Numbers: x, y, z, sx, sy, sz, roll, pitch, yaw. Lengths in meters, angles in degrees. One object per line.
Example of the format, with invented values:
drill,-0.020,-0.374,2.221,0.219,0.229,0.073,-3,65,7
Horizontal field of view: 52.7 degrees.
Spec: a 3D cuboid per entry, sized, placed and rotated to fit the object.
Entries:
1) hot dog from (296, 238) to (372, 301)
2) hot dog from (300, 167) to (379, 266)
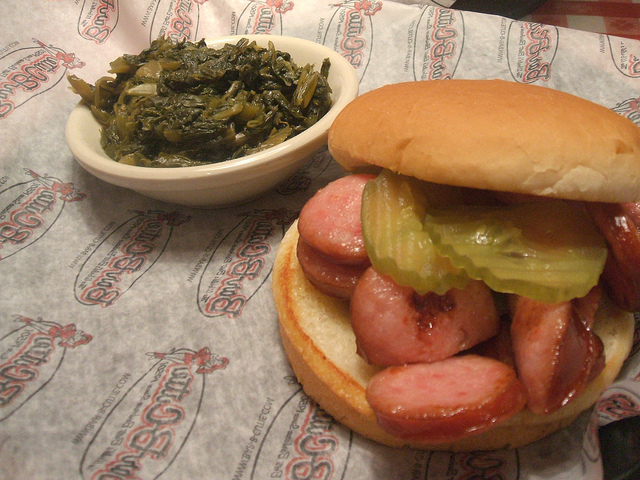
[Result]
hot dog,0.044,0.104,2.436,0.217,0.062,0.218,42,32,13
hot dog,0.033,-0.043,2.605,0.125,0.452,0.484,32,13,9
